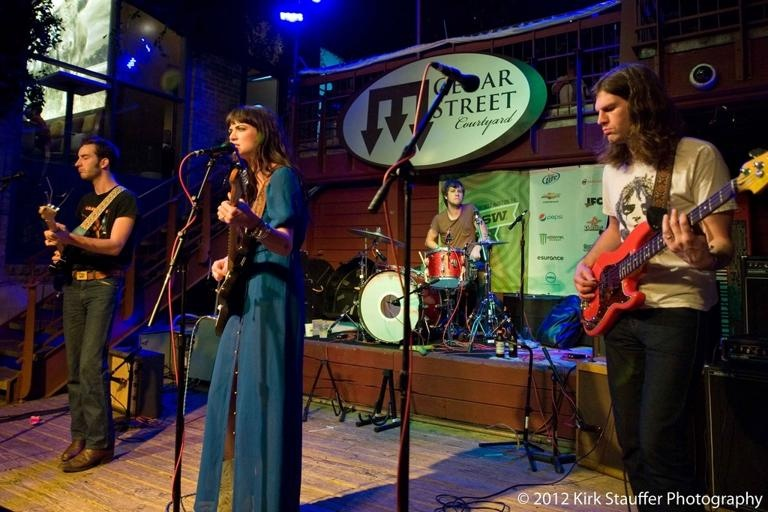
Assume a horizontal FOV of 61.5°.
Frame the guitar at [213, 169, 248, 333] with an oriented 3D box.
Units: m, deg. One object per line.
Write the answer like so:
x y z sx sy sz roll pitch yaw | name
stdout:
-1.102 -0.030 4.739 0.211 1.220 0.495 3 -3 -14 | guitar

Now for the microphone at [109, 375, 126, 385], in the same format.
-2.911 1.363 7.055 0.155 0.106 0.048 25 28 7 | microphone

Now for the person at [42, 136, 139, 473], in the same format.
-2.747 0.400 5.954 0.673 3.127 0.543 1 -3 19 | person

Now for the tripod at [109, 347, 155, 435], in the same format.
-2.680 1.473 6.883 0.350 0.642 0.623 4 -30 -32 | tripod

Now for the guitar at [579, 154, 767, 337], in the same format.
2.277 -0.041 4.978 0.256 0.693 2.093 10 -30 -15 | guitar

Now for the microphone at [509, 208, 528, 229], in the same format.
1.876 -0.526 8.978 0.295 0.228 0.832 -1 6 24 | microphone

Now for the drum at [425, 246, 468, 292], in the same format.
0.706 0.081 7.615 0.504 0.411 0.513 3 0 -21 | drum

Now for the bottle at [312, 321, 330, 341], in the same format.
-0.780 0.914 7.997 0.215 0.171 0.179 -1 -14 6 | bottle

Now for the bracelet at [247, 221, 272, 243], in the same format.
-0.896 -0.174 4.600 0.126 0.100 0.130 -6 7 -6 | bracelet

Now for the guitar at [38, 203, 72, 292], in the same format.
-3.476 -0.132 6.754 0.254 1.043 2.449 4 -4 -28 | guitar

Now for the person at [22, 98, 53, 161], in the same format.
-5.438 -1.966 10.108 0.415 0.909 0.270 4 -4 -34 | person

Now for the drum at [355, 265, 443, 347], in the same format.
0.189 0.586 7.192 0.787 0.840 0.414 -6 -8 32 | drum
